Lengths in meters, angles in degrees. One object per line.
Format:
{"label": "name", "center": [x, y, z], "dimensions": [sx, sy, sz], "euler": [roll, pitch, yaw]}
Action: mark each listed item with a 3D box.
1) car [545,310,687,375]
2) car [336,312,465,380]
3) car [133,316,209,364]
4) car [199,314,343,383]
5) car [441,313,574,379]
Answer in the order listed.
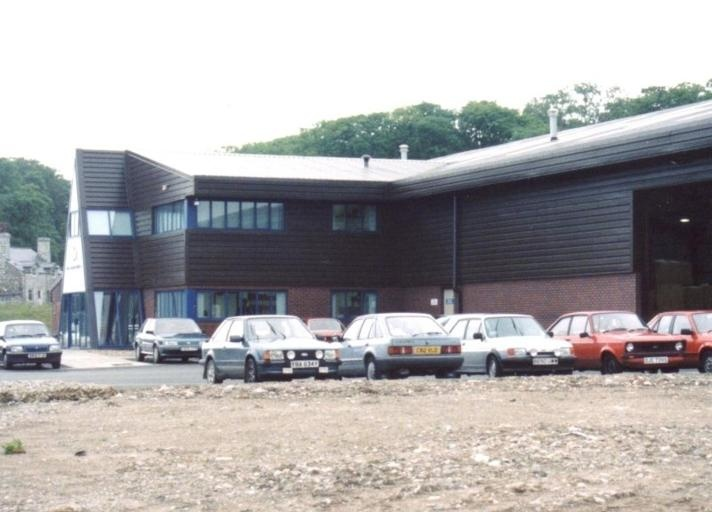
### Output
{"label": "car", "center": [6.389, 2.203, 28.787], "dimensions": [1.633, 1.010, 3.011], "euler": [1, -4, -23]}
{"label": "car", "center": [0.758, 2.122, 27.026], "dimensions": [1.565, 0.949, 2.659], "euler": [0, -1, -23]}
{"label": "car", "center": [-6.320, 2.869, 38.411], "dimensions": [1.673, 1.431, 2.745], "euler": [-5, 4, -33]}
{"label": "car", "center": [-2.296, 2.189, 26.406], "dimensions": [1.671, 1.012, 2.609], "euler": [2, -5, -29]}
{"label": "car", "center": [3.468, 2.152, 27.765], "dimensions": [1.491, 0.953, 2.846], "euler": [1, -6, -22]}
